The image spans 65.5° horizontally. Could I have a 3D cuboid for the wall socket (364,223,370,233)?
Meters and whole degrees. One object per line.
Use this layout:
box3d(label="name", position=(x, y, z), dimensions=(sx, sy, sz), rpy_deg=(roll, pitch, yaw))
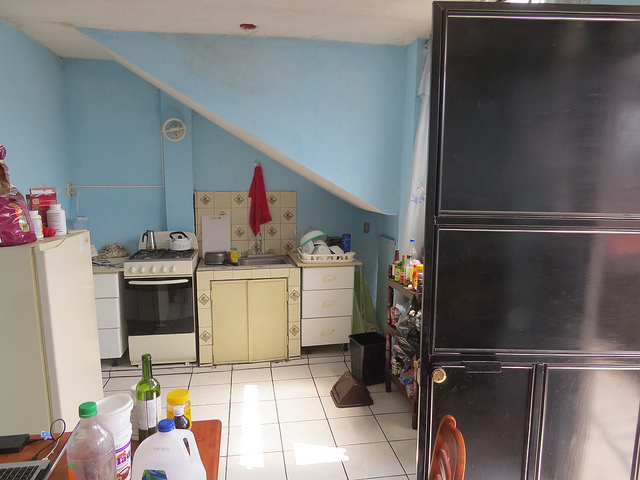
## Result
box3d(label="wall socket", position=(0.459, -0.117, 4.883), dimensions=(0.056, 0.078, 0.018), rpy_deg=(6, 9, 40))

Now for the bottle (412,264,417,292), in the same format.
box3d(label="bottle", position=(0.670, 0.268, 3.515), dimensions=(0.036, 0.169, 0.118), rpy_deg=(-2, 6, 11))

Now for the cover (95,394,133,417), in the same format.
box3d(label="cover", position=(-0.787, 0.621, 1.908), dimensions=(0.088, 0.021, 0.089), rpy_deg=(0, 4, -8))

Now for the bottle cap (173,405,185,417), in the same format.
box3d(label="bottle cap", position=(-0.544, 0.665, 1.920), dimensions=(0.026, 0.029, 0.044), rpy_deg=(-1, -4, 4))

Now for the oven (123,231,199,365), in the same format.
box3d(label="oven", position=(-1.321, 0.566, 4.241), dimensions=(0.607, 1.005, 0.486), rpy_deg=(-5, 6, -14))

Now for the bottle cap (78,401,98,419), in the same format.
box3d(label="bottle cap", position=(-0.837, 0.603, 1.791), dimensions=(0.058, 0.035, 0.059), rpy_deg=(0, 9, -9))

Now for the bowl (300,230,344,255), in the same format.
box3d(label="bowl", position=(0.019, 0.036, 4.401), dimensions=(0.298, 0.172, 0.214), rpy_deg=(14, 10, 39))

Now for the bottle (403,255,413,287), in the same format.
box3d(label="bottle", position=(0.641, 0.244, 3.620), dimensions=(0.070, 0.173, 0.151), rpy_deg=(-2, 6, 10))

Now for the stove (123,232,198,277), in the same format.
box3d(label="stove", position=(-1.338, 0.145, 4.266), dimensions=(0.536, 0.319, 0.559), rpy_deg=(-1, 9, -7))

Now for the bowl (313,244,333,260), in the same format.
box3d(label="bowl", position=(0.024, 0.104, 4.346), dimensions=(0.146, 0.140, 0.107), rpy_deg=(-12, 6, -5))

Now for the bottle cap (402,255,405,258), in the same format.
box3d(label="bottle cap", position=(0.651, 0.128, 3.870), dimensions=(0.018, 0.014, 0.018), rpy_deg=(4, 7, 25))

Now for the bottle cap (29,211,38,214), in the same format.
box3d(label="bottle cap", position=(-1.497, -0.142, 2.600), dimensions=(0.035, 0.015, 0.028), rpy_deg=(-6, 6, -22))

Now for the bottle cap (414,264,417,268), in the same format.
box3d(label="bottle cap", position=(0.679, 0.191, 3.549), dimensions=(0.015, 0.020, 0.021), rpy_deg=(0, 2, -5))

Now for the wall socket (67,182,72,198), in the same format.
box3d(label="wall socket", position=(-2.200, -0.436, 4.365), dimensions=(0.029, 0.131, 0.063), rpy_deg=(-4, 6, -4))

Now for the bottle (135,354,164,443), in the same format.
box3d(label="bottle", position=(-0.697, 0.653, 2.019), dimensions=(0.099, 0.361, 0.150), rpy_deg=(-7, 7, -25))

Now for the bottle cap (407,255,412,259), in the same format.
box3d(label="bottle cap", position=(0.673, 0.134, 3.765), dimensions=(0.037, 0.026, 0.021), rpy_deg=(0, -4, 2))

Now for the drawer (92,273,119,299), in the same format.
box3d(label="drawer", position=(-1.712, 0.359, 4.089), dimensions=(0.260, 0.255, 0.191), rpy_deg=(-1, 4, -15))

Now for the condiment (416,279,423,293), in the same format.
box3d(label="condiment", position=(0.687, 0.323, 3.472), dimensions=(0.035, 0.081, 0.052), rpy_deg=(-1, 7, 24))

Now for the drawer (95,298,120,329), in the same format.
box3d(label="drawer", position=(-1.761, 0.620, 4.131), dimensions=(0.210, 0.235, 0.206), rpy_deg=(4, -13, -34))
